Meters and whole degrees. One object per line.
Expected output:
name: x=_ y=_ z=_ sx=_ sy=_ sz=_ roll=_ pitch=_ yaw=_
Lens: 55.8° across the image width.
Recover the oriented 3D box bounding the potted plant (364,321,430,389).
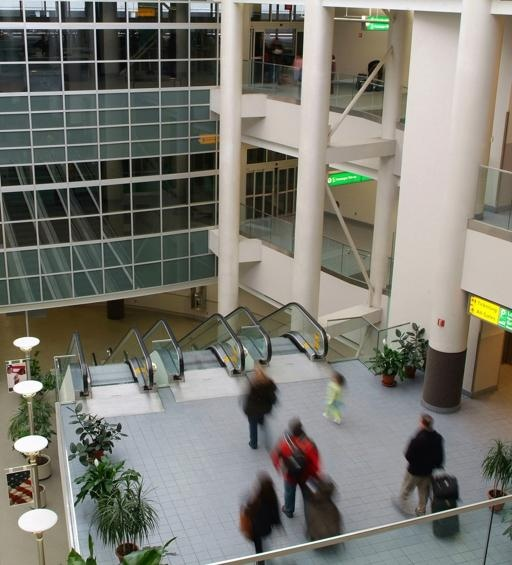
potted plant: x=3.516 y=1.752 z=12.309 sx=1.230 sy=1.359 sz=1.868 roll=-9 pitch=28 yaw=-11

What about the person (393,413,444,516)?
person: x=2.278 y=2.587 z=6.656 sx=0.503 sy=1.914 sz=0.721 roll=8 pitch=14 yaw=20

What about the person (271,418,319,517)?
person: x=0.512 y=2.372 z=6.073 sx=0.612 sy=1.321 sz=0.337 roll=1 pitch=17 yaw=3

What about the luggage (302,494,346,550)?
luggage: x=0.727 y=2.632 z=5.282 sx=0.462 sy=0.615 sz=0.408 roll=-1 pitch=-24 yaw=0
